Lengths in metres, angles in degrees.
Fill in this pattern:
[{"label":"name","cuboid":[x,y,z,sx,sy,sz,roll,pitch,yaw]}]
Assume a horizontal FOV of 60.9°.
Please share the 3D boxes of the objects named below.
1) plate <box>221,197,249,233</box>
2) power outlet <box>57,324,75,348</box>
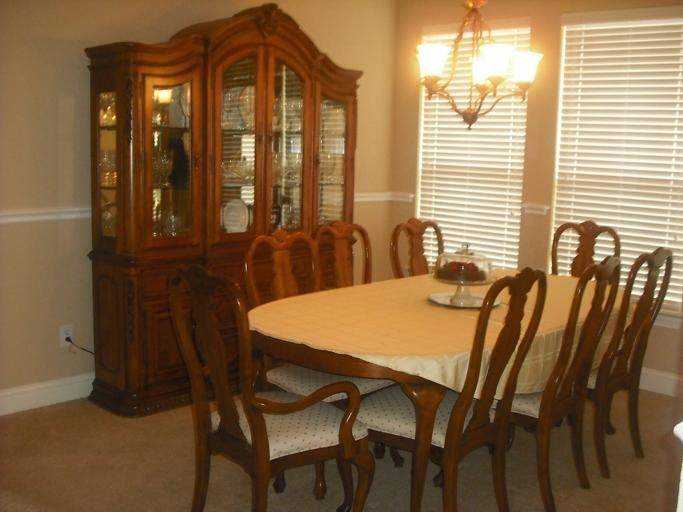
[{"label":"plate","cuboid":[-0.751,-0.293,4.028,0.216,0.260,0.024,-9,14,-44]},{"label":"power outlet","cuboid":[-1.851,0.523,3.870,0.022,0.214,0.146,8,10,40]}]
